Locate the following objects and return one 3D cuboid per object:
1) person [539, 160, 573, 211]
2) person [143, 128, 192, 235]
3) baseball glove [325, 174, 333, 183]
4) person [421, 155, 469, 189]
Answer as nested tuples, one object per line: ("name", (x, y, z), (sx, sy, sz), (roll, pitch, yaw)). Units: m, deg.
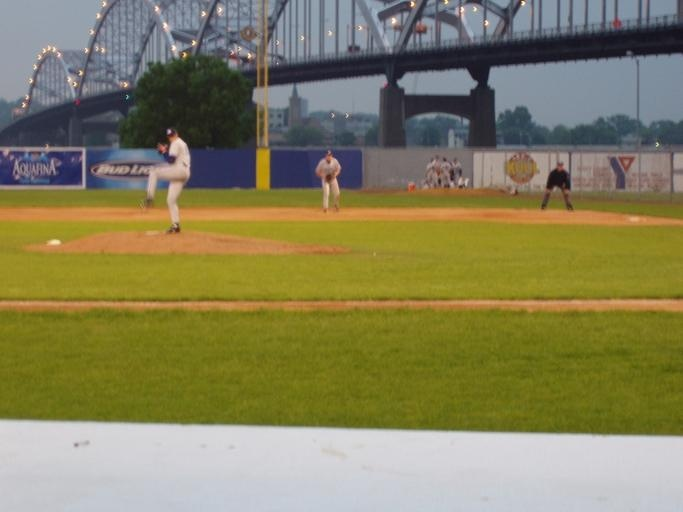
("person", (6.517, -2.173, 43.306), (0.923, 1.848, 0.853), (2, -20, 14))
("person", (-3.957, -1.791, 32.652), (0.900, 2.598, 0.701), (5, -15, -12))
("baseball glove", (-0.381, -2.311, 40.340), (0.264, 0.289, 0.596), (0, 7, -1))
("person", (4.388, -3.814, 62.430), (1.361, 1.294, 0.451), (-2, 6, -16))
